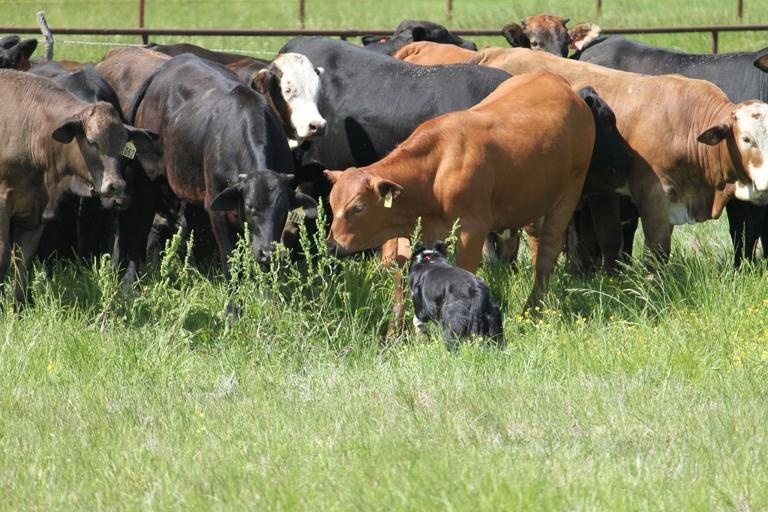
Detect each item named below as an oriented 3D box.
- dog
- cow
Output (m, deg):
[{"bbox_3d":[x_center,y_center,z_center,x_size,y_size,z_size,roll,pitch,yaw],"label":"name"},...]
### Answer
[{"bbox_3d":[0.578,0.320,8.707,0.467,0.792,0.810,-9,14,-38],"label":"dog"},{"bbox_3d":[0.166,-1.082,10.672,7.014,3.485,2.384,5,10,13],"label":"cow"}]
